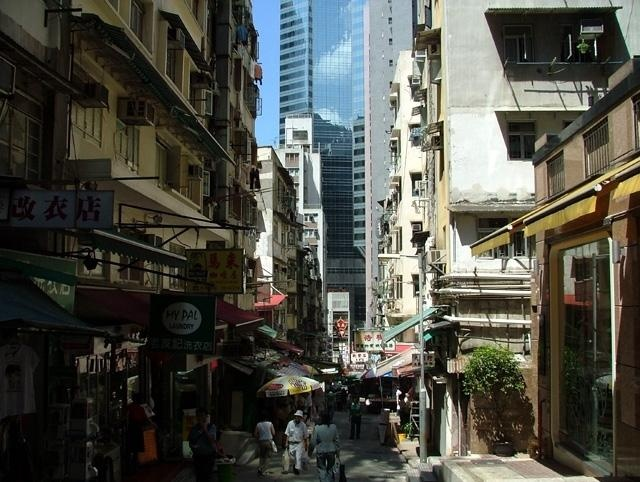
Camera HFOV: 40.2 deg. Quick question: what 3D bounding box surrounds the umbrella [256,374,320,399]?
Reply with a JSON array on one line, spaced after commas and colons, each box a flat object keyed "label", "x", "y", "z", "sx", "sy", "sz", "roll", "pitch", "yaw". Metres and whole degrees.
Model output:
[{"label": "umbrella", "x": -1.053, "y": 4.884, "z": 29.633, "sx": 1.384, "sy": 0.824, "sz": 2.660, "roll": -6, "pitch": -14, "yaw": 16}]

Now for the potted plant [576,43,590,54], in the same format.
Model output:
[{"label": "potted plant", "x": 8.907, "y": -6.465, "z": 29.542, "sx": 0.312, "sy": 0.341, "sz": 0.344, "roll": -2, "pitch": 0, "yaw": -11}]

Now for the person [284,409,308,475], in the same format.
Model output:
[{"label": "person", "x": -0.681, "y": 5.757, "z": 24.980, "sx": 0.574, "sy": 1.780, "sz": 1.035, "roll": 0, "pitch": -11, "yaw": -4}]

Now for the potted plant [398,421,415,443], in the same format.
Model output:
[{"label": "potted plant", "x": 3.312, "y": 7.413, "z": 33.819, "sx": 0.584, "sy": 0.787, "sz": 0.594, "roll": 4, "pitch": -15, "yaw": -4}]

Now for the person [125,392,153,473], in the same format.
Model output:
[{"label": "person", "x": -4.674, "y": 4.900, "z": 22.569, "sx": 0.518, "sy": 1.925, "sz": 0.698, "roll": -3, "pitch": -11, "yaw": 7}]

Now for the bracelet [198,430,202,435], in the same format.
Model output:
[{"label": "bracelet", "x": -2.865, "y": 4.567, "z": 20.804, "sx": 0.046, "sy": 0.093, "sz": 0.048, "roll": -8, "pitch": -16, "yaw": -6}]

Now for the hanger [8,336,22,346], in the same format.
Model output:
[{"label": "hanger", "x": -5.995, "y": 1.954, "z": 17.140, "sx": 0.259, "sy": 0.199, "sz": 0.243, "roll": 4, "pitch": -14, "yaw": -23}]

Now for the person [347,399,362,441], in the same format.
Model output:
[{"label": "person", "x": 1.350, "y": 6.835, "z": 33.639, "sx": 0.423, "sy": 1.588, "sz": 1.114, "roll": -1, "pitch": -12, "yaw": 1}]

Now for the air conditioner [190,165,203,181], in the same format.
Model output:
[{"label": "air conditioner", "x": -4.174, "y": -2.224, "z": 29.056, "sx": 0.348, "sy": 0.587, "sz": 0.720, "roll": -1, "pitch": -2, "yaw": 4}]

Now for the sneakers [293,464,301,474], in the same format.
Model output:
[{"label": "sneakers", "x": -0.664, "y": 6.511, "z": 24.915, "sx": 0.203, "sy": 0.472, "sz": 0.237, "roll": 2, "pitch": -4, "yaw": 2}]

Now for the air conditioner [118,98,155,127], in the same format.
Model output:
[{"label": "air conditioner", "x": -4.971, "y": -3.473, "z": 23.786, "sx": 0.478, "sy": 0.685, "sz": 1.118, "roll": -1, "pitch": 0, "yaw": -2}]

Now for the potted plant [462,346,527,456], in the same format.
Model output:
[{"label": "potted plant", "x": 5.375, "y": 4.851, "z": 26.698, "sx": 1.845, "sy": 3.242, "sz": 1.172, "roll": -4, "pitch": -11, "yaw": 12}]
